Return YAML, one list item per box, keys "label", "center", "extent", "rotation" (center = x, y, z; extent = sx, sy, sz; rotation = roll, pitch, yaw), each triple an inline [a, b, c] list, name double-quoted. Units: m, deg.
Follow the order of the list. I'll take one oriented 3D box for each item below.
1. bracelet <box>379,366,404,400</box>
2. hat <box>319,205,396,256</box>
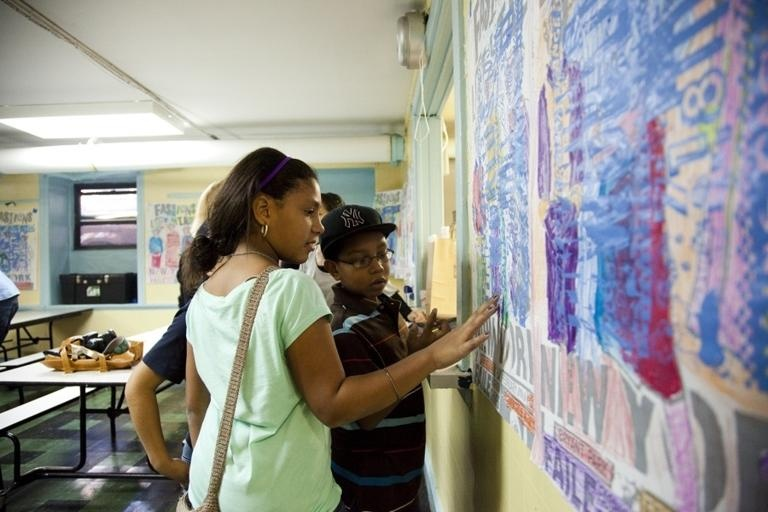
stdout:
- label: "bracelet"
  center: [0.019, 0.274, 1.094]
  extent: [0.015, 0.058, 0.050]
  rotation: [-31, 22, -30]
- label: "hat"
  center: [-0.089, -0.097, 1.544]
  extent: [0.153, 0.104, 0.201]
  rotation: [-13, -13, -46]
